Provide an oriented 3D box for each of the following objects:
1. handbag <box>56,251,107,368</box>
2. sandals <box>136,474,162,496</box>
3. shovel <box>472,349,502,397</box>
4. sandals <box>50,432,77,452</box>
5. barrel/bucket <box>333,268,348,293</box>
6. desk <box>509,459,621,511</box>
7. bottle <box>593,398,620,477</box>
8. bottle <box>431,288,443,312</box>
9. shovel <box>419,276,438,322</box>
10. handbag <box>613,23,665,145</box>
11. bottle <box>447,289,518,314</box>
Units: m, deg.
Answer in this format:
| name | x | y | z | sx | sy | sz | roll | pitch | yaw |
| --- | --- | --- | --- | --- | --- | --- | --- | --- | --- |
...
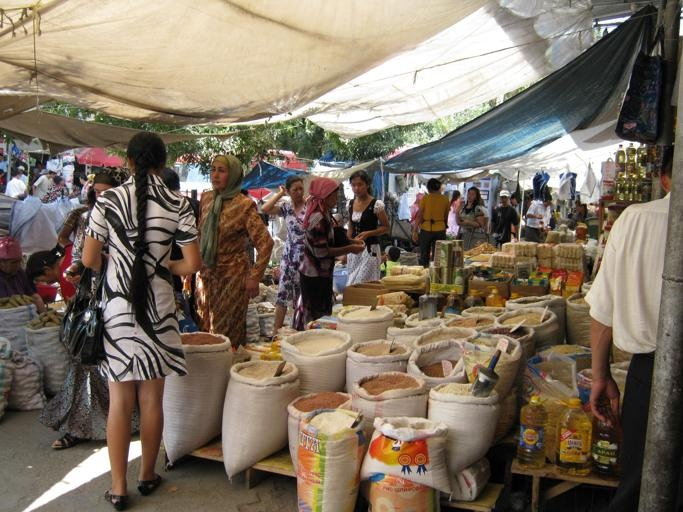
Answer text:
| name | x | y | z | sx | sy | sz | roll | pitch | yaw |
| --- | --- | --- | --- | --- | --- | --- | --- | --- | --- |
| handbag | -1.637 | 0.329 | 3.282 | 0.294 | 0.675 | 0.595 | -9 | 14 | -29 |
| sandals | -1.274 | 1.512 | 3.388 | 0.070 | 0.068 | 0.170 | 2 | 6 | 7 |
| shovel | 0.876 | 0.700 | 3.111 | 0.141 | 0.240 | 0.286 | 4 | 14 | 24 |
| sandals | -2.192 | 1.473 | 4.041 | 0.078 | 0.090 | 0.213 | -1 | -11 | 18 |
| barrel/bucket | -0.027 | 0.455 | 9.262 | 0.340 | 0.280 | 0.367 | 0 | 0 | 0 |
| desk | 1.307 | 1.327 | 3.048 | 0.434 | 0.279 | 0.350 | 0 | 0 | 25 |
| bottle | 1.540 | 1.129 | 3.021 | 0.153 | 0.287 | 0.149 | -2 | 13 | 0 |
| bottle | 0.844 | 0.407 | 4.455 | 0.132 | 0.182 | 0.175 | 0 | 5 | -2 |
| shovel | 0.721 | 0.358 | 4.253 | 0.188 | 0.441 | 0.068 | -7 | 31 | 2 |
| handbag | 1.873 | -1.001 | 3.220 | 0.245 | 0.573 | 0.225 | 7 | 15 | 33 |
| bottle | 1.341 | 0.453 | 4.985 | 0.435 | 0.159 | 0.301 | 3 | -1 | -41 |
